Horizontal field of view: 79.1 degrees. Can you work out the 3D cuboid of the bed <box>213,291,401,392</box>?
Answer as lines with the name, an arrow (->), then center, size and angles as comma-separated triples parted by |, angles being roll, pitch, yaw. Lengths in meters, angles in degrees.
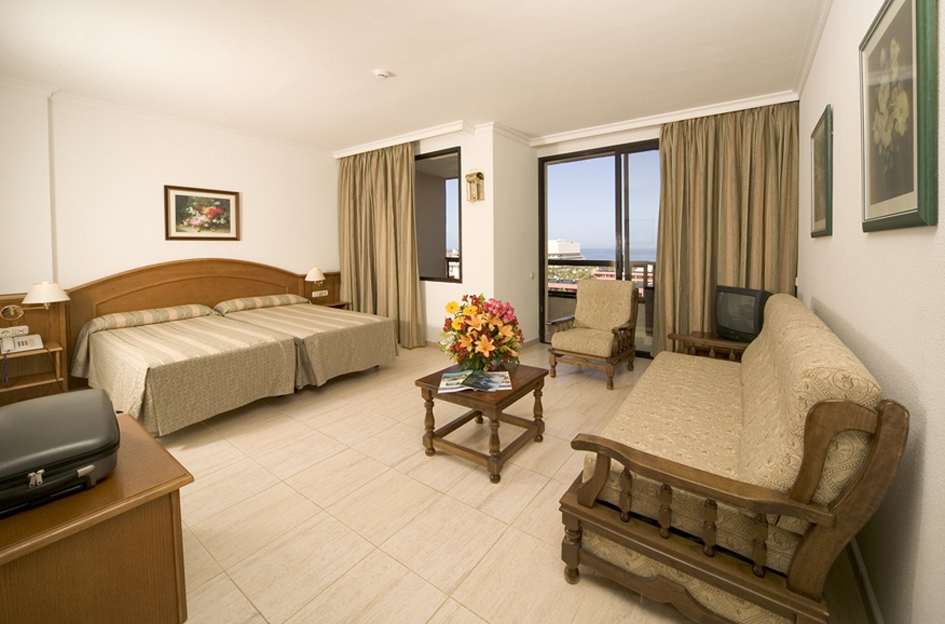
bed -> -1.923, 0.183, 6.244 | 1.608, 0.516, 1.049 | 9, 14, 39

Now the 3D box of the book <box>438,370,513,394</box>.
book -> 0.026, 0.534, 4.513 | 0.578, 0.109, 0.344 | -4, 9, 2

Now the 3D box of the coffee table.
coffee table -> 0.091, 0.825, 4.740 | 0.862, 0.712, 0.920 | 2, 11, 33

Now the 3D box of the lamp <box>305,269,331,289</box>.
lamp -> -2.042, -0.454, 7.587 | 0.255, 0.255, 0.261 | 4, 5, 5

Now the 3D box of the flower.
flower -> 0.053, 0.149, 4.679 | 0.591, 0.640, 0.630 | -13, 48, 11

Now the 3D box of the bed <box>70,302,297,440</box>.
bed -> -2.675, 0.496, 5.439 | 1.594, 0.923, 1.425 | 5, 13, 44

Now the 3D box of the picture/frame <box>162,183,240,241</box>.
picture/frame -> -3.120, -1.155, 6.509 | 0.030, 0.531, 0.735 | 1, 2, 39
